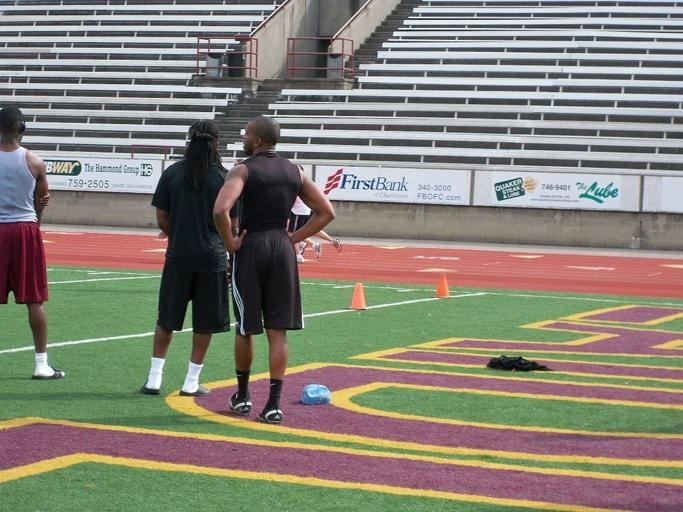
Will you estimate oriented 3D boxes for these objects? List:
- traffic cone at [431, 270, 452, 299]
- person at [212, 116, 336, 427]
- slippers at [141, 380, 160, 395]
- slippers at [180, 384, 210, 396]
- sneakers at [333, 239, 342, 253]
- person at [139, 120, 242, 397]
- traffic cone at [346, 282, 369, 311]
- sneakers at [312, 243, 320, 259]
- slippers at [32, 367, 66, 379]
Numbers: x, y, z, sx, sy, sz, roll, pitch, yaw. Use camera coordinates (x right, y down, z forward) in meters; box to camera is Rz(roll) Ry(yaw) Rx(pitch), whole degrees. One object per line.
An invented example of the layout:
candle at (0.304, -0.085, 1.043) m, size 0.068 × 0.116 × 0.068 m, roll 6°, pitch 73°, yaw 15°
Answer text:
traffic cone at (1.525, 0.439, 20.887) m, size 0.343 × 0.377 × 0.393 m, roll 5°, pitch 9°, yaw 39°
person at (-0.753, 0.134, 13.928) m, size 1.136 × 3.145 × 0.430 m, roll 2°, pitch 5°, yaw -1°
slippers at (-2.073, 1.432, 14.580) m, size 0.103 × 0.084 × 0.245 m, roll 3°, pitch 1°, yaw -34°
slippers at (-1.598, 1.445, 14.642) m, size 0.285 × 0.094 × 0.117 m, roll -3°, pitch 3°, yaw -16°
sneakers at (-0.069, -0.221, 25.050) m, size 0.093 × 0.271 × 0.123 m, roll -32°, pitch 57°, yaw -15°
person at (-1.787, 0.065, 14.855) m, size 1.229 × 2.781 × 1.114 m, roll 2°, pitch -2°, yaw -13°
traffic cone at (0.277, 0.577, 19.430) m, size 0.393 × 0.367 × 0.359 m, roll 0°, pitch 1°, yaw -29°
sneakers at (-0.439, -0.112, 24.924) m, size 0.112 × 0.288 × 0.135 m, roll -27°, pitch 52°, yaw -28°
slippers at (-3.261, 1.288, 14.950) m, size 0.252 × 0.071 × 0.159 m, roll -1°, pitch 2°, yaw -17°
